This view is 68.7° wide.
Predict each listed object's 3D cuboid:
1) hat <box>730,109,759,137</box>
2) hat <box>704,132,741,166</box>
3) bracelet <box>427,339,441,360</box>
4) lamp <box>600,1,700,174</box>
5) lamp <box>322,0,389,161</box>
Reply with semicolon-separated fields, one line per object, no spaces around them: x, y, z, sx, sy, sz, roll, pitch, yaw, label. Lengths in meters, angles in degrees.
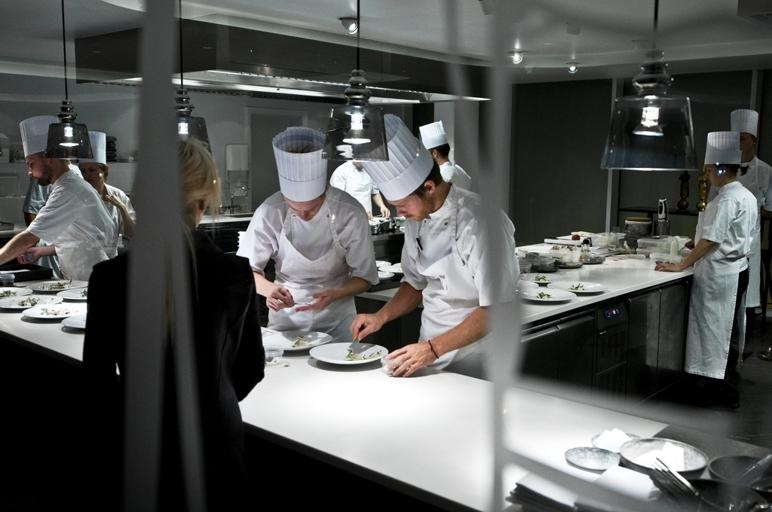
2.057;-0.766;3.244;0.125;0.155;0.332;7;10;30;hat
1.805;-0.566;3.019;0.162;0.179;0.164;7;10;28;hat
0.126;0.258;1.530;0.030;0.047;0.060;5;9;17;bracelet
0.663;-0.350;1.387;0.220;0.270;0.230;5;10;19;lamp
-0.074;-0.344;1.375;0.158;0.224;0.118;1;9;-4;lamp
